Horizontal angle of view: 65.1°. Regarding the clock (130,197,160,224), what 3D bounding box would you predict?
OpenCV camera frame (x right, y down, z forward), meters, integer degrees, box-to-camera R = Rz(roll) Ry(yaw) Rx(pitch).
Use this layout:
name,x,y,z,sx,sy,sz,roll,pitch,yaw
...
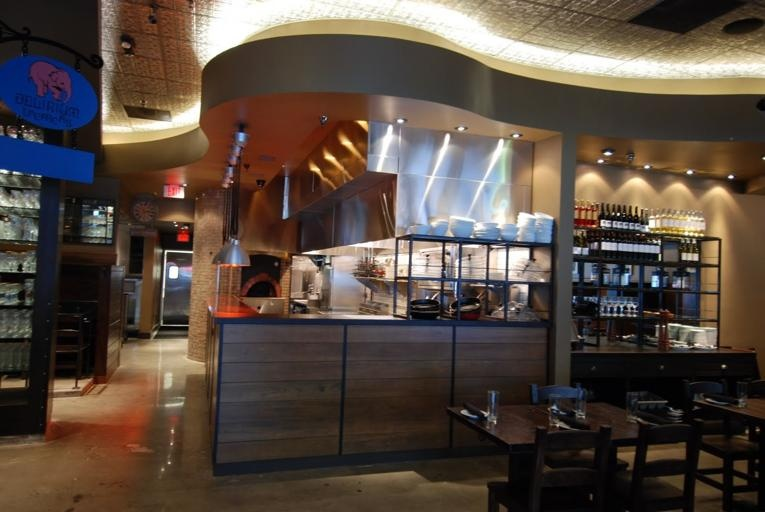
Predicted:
name,x,y,z,sx,sy,sz,roll,pitch,yaw
clock,-5.179,-0.982,12.922,0.615,0.465,0.564,0,3,-24

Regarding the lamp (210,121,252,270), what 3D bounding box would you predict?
name,x,y,z,sx,sy,sz,roll,pitch,yaw
lamp,-2.524,-1.033,10.057,0.635,1.841,2.298,4,0,-13

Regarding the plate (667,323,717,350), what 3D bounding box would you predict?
name,x,y,z,sx,sy,sz,roll,pitch,yaw
plate,4.771,1.234,9.168,0.778,0.319,0.431,2,-6,11

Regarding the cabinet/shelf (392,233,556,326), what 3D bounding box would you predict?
name,x,y,z,sx,sy,sz,roll,pitch,yaw
cabinet/shelf,1.301,0.352,8.448,2.723,1.144,1.254,2,0,-6

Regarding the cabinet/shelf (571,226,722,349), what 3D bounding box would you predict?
name,x,y,z,sx,sy,sz,roll,pitch,yaw
cabinet/shelf,3.931,0.498,9.084,2.563,1.561,0.665,1,1,-12

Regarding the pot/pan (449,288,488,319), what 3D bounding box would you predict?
name,x,y,z,sx,sy,sz,roll,pitch,yaw
pot/pan,1.179,0.662,8.345,0.467,0.333,0.951,3,8,10

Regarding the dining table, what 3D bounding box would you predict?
name,x,y,z,sx,sy,sz,roll,pitch,yaw
dining table,1.636,1.894,6.238,1.277,0.552,1.332,0,-1,-9
